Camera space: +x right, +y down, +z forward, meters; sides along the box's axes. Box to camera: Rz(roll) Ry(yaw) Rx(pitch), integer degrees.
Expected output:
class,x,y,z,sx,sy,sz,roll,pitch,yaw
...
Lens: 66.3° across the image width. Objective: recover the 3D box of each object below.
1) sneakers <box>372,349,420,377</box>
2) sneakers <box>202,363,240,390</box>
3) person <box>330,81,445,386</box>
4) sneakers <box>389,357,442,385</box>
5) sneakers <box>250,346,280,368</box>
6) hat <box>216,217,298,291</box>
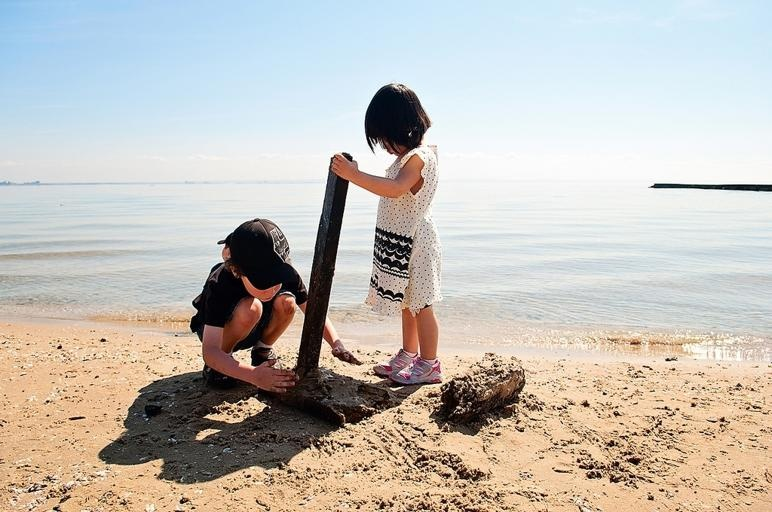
class,x,y,z,sx,sy,sz,roll,pitch,yaw
sneakers,0.075,1.055,5.833,0.532,0.220,0.185,-18,2,-13
sneakers,-1.585,1.139,5.570,0.383,0.146,0.146,3,6,18
person,0.095,-0.186,5.572,1.163,2.778,0.581,0,8,-29
sneakers,0.317,1.099,5.681,0.573,0.246,0.210,0,-6,-5
sneakers,-1.114,0.957,5.653,0.454,0.172,0.159,2,2,-2
hat,-1.123,-0.028,5.169,0.720,0.397,0.504,32,31,14
